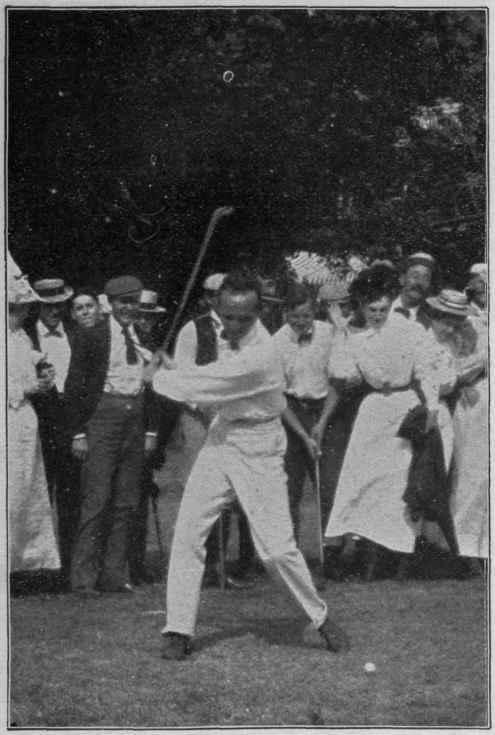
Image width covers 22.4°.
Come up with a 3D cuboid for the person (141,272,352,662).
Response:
[{"bbox_3d":[-0.069,0.643,8.153,1.269,2.478,0.569,5,11,-6],"label":"person"}]

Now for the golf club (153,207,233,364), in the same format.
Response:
[{"bbox_3d":[-0.344,-0.578,8.197,0.395,0.990,0.054,0,12,-31],"label":"golf club"}]

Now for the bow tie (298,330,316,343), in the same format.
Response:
[{"bbox_3d":[0.380,-0.199,8.231,0.065,0.085,0.022,51,-1,-11],"label":"bow tie"}]

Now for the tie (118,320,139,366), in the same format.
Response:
[{"bbox_3d":[-0.784,-0.154,8.211,0.143,0.267,0.037,12,12,28],"label":"tie"}]
